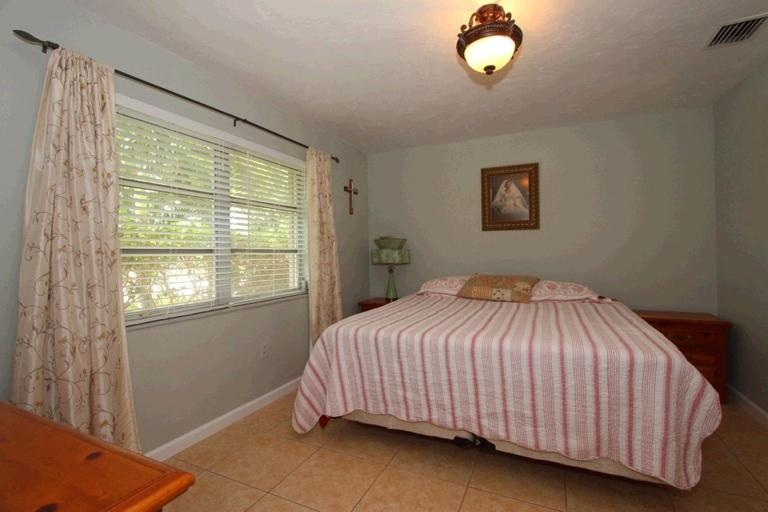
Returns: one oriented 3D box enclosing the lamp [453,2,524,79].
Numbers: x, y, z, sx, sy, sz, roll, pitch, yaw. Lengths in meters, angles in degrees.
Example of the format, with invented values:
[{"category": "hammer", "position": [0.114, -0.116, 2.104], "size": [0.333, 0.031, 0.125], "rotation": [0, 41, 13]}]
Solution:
[{"category": "lamp", "position": [0.734, -1.529, 3.567], "size": [0.502, 0.449, 0.491], "rotation": [0, -1, 5]}]
